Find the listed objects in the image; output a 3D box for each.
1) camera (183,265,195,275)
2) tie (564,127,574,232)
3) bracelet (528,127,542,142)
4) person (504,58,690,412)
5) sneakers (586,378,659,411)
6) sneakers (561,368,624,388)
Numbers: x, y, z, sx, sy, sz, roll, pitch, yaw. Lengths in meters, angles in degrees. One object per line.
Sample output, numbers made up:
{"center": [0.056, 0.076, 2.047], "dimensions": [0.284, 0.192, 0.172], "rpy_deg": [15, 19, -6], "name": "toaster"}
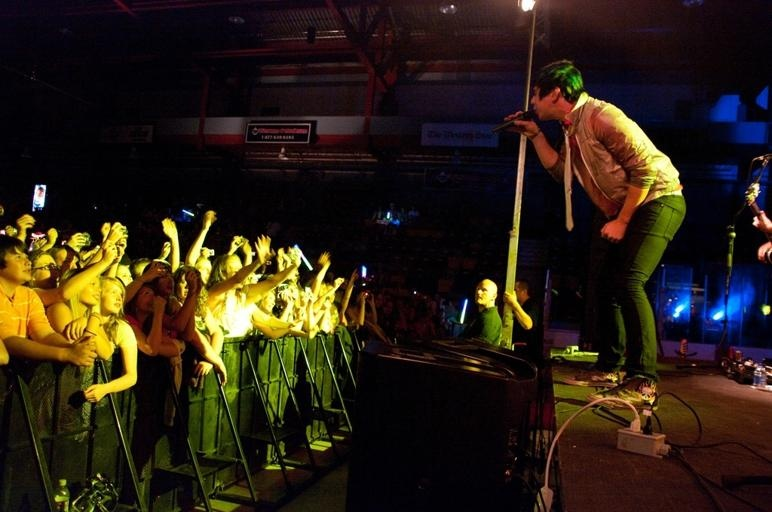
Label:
{"center": [-2.047, 0.145, 5.704], "dimensions": [0.124, 0.117, 0.123], "rpy_deg": [4, -2, -18], "name": "camera"}
{"center": [1.468, -0.581, 4.415], "dimensions": [0.058, 0.770, 0.110], "rpy_deg": [-2, -7, 24], "name": "tie"}
{"center": [1.296, -1.042, 4.700], "dimensions": [0.075, 0.079, 0.098], "rpy_deg": [43, -7, -27], "name": "bracelet"}
{"center": [1.757, -0.260, 4.399], "dimensions": [1.098, 2.731, 0.771], "rpy_deg": [4, -2, 27], "name": "person"}
{"center": [1.801, 1.026, 4.145], "dimensions": [0.524, 0.227, 0.192], "rpy_deg": [2, -1, 10], "name": "sneakers"}
{"center": [1.814, 1.061, 4.754], "dimensions": [0.544, 0.201, 0.222], "rpy_deg": [-1, -6, 23], "name": "sneakers"}
